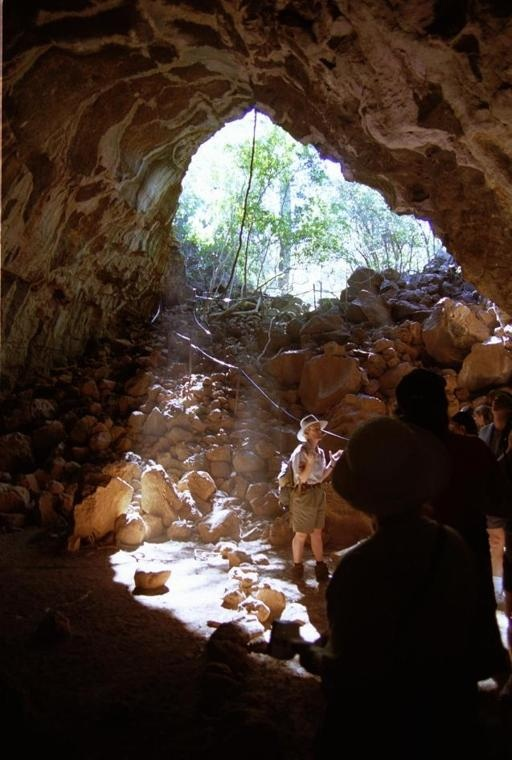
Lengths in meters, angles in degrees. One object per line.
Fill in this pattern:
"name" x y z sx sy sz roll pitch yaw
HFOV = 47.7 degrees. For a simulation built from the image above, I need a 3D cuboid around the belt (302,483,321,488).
"belt" 0.440 0.829 4.559 0.056 0.027 0.075 0 -6 -20
